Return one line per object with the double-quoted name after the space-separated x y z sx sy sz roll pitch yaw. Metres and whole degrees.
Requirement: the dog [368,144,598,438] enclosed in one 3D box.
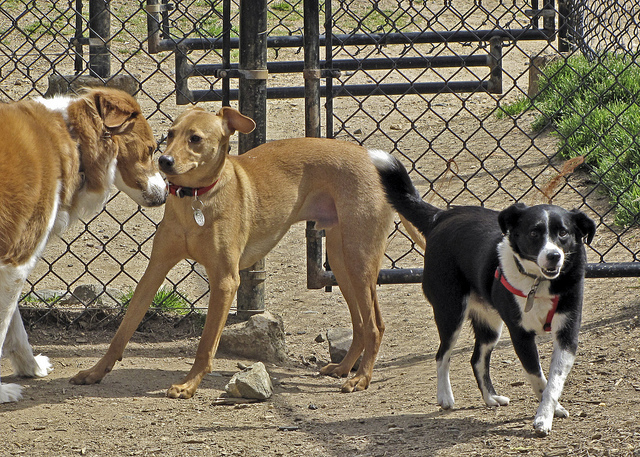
1.372 0.474 12.007 1.003 2.115 2.733 3 -3 -25 "dog"
